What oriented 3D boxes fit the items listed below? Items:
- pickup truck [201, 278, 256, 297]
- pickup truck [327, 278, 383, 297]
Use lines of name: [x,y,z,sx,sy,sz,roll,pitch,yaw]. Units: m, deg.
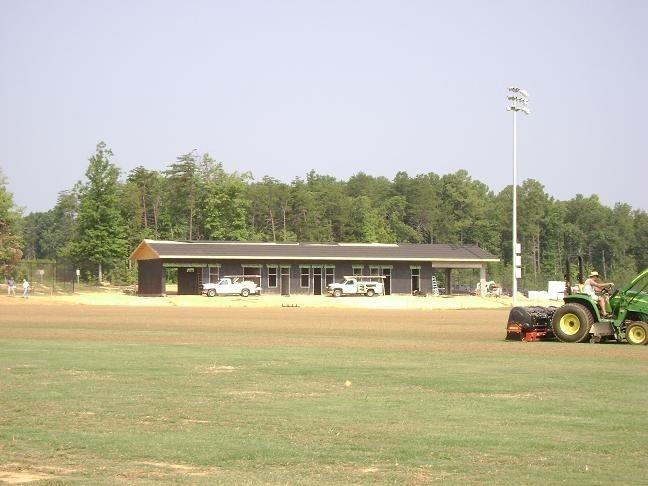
pickup truck: [-6.917,3.352,77.089,3.744,1.236,1.594,2,-4,-7]
pickup truck: [2.481,3.463,80.112,3.868,1.272,1.728,1,-3,-3]
